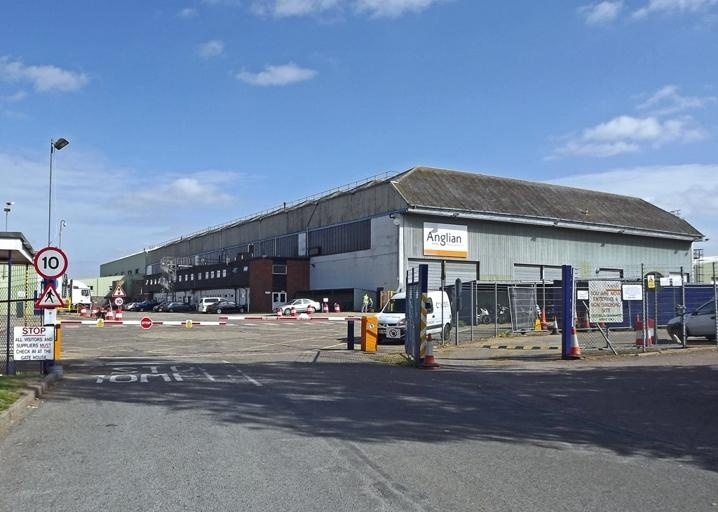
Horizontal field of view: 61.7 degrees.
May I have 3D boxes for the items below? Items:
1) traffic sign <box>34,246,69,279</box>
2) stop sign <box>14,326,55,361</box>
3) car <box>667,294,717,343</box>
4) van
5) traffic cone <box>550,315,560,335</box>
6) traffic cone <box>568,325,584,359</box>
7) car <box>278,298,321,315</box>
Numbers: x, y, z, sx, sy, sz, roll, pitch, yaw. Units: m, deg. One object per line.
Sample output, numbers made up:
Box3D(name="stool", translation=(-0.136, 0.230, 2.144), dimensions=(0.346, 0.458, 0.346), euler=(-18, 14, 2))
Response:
Box3D(name="traffic sign", translation=(-7.391, 0.187, 14.467), dimensions=(0.737, 0.791, 0.104), euler=(5, -12, -28))
Box3D(name="stop sign", translation=(-8.122, 2.220, 15.052), dimensions=(0.952, 0.870, 0.093), euler=(6, -18, -44))
Box3D(name="car", translation=(12.092, 2.540, 22.824), dimensions=(2.617, 1.453, 1.347), euler=(-2, -10, 24))
Box3D(name="van", translation=(2.448, 2.626, 26.544), dimensions=(1.967, 1.778, 3.425), euler=(-5, -12, 27))
Box3D(name="traffic cone", translation=(9.884, 3.543, 30.335), dimensions=(0.647, 0.949, 0.736), euler=(0, -8, -5))
Box3D(name="traffic cone", translation=(7.050, 2.807, 19.532), dimensions=(0.298, 1.023, 0.899), euler=(-4, -6, 24))
Box3D(name="car", translation=(-5.588, 4.828, 56.446), dimensions=(3.494, 1.261, 1.521), euler=(4, -7, -29))
